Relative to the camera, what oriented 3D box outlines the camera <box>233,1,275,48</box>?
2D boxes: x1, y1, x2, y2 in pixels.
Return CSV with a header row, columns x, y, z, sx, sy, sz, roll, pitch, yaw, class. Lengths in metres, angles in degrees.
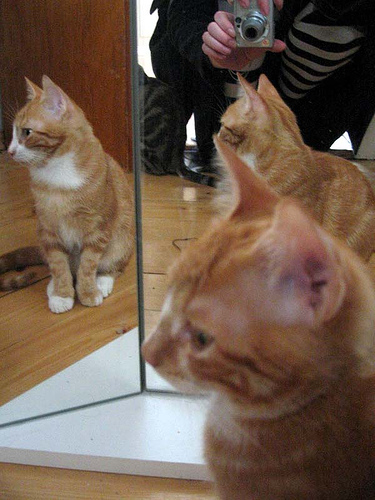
x,y,z,sx,sy,sz,roll,pitch,yaw,class
0.109,-0.360,0.859,0.070,0.083,0.073,3,34,13,camera
